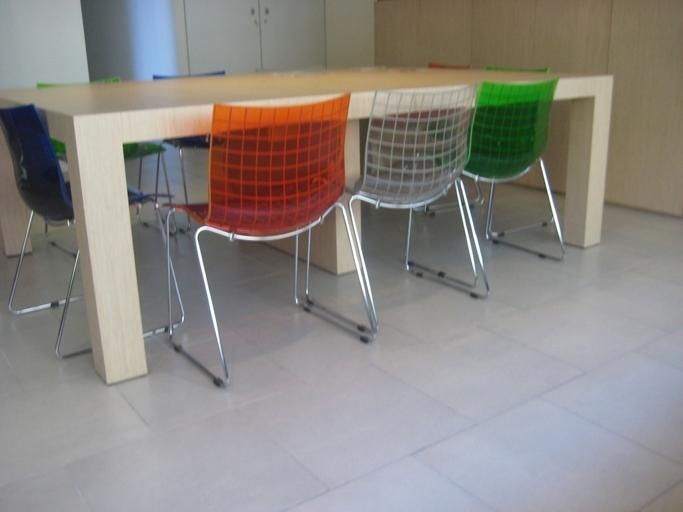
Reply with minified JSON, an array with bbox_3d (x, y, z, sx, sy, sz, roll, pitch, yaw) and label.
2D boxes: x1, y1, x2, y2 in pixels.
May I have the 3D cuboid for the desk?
[{"bbox_3d":[-0.193,-0.518,2.994,3.414,1.201,1.668,-17,29,-22],"label":"desk"}]

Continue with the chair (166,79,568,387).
[{"bbox_3d":[0.121,-0.088,2.423,1.235,0.736,0.414,-16,26,-37],"label":"chair"}]
